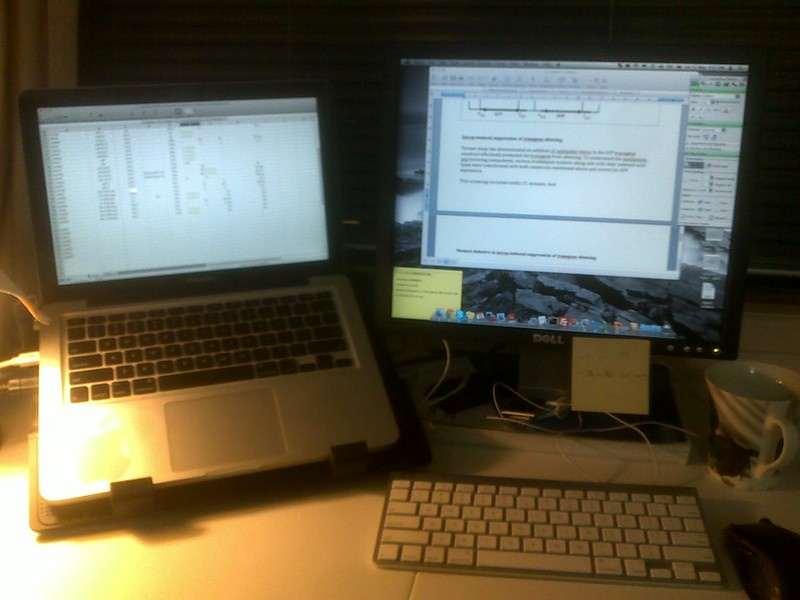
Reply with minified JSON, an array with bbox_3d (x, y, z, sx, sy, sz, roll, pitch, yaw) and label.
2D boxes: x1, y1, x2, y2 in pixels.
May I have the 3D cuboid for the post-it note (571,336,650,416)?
[{"bbox_3d":[0.302,0.105,0.977,0.139,0.105,0.028,3,-4,9],"label":"post-it note"}]

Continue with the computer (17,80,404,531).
[{"bbox_3d":[-0.246,0.005,0.944,0.593,0.540,0.307,-17,-22,-33],"label":"computer"}]

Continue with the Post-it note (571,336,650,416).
[{"bbox_3d":[0.304,0.105,0.977,0.139,0.105,0.028,3,-4,9],"label":"Post-it note"}]

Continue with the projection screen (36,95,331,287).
[{"bbox_3d":[-0.352,-0.177,1.047,0.359,0.180,0.006,-6,10,-10],"label":"projection screen"}]
